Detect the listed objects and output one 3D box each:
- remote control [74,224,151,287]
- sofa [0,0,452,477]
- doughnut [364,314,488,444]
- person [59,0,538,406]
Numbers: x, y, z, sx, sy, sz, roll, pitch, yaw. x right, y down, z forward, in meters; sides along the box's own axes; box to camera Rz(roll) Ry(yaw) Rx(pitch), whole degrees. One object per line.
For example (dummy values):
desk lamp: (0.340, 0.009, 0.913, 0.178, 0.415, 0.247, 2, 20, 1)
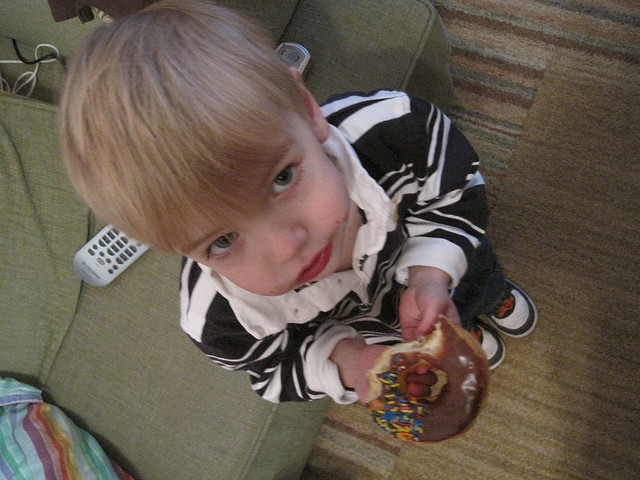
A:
remote control: (-0.570, 0.043, 1.421, 0.189, 0.067, 0.122, -40, 73, -9)
sofa: (-0.301, -0.102, 1.930, 1.329, 0.901, 1.296, 30, 109, 21)
doughnut: (0.206, 0.276, 0.992, 0.239, 0.086, 0.200, -31, 72, -7)
person: (-0.070, -0.044, 1.024, 0.768, 0.512, 0.665, 15, 73, 9)
